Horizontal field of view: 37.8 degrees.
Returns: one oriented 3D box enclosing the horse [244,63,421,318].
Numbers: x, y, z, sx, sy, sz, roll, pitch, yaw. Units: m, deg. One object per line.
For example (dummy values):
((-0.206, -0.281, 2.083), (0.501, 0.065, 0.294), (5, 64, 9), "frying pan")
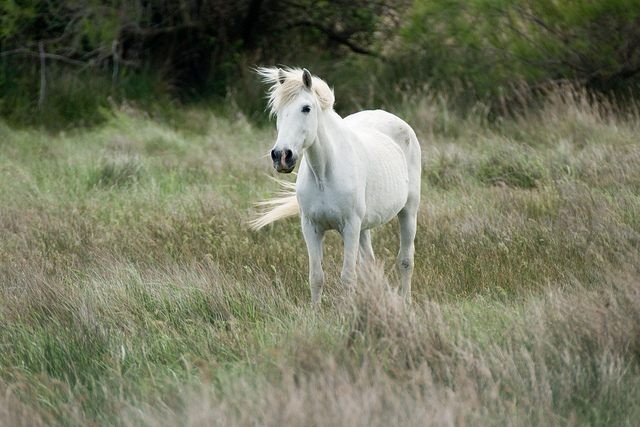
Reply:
((0.303, -0.300, 12.463), (2.462, 3.075, 1.075), (-2, 11, -41), "horse")
